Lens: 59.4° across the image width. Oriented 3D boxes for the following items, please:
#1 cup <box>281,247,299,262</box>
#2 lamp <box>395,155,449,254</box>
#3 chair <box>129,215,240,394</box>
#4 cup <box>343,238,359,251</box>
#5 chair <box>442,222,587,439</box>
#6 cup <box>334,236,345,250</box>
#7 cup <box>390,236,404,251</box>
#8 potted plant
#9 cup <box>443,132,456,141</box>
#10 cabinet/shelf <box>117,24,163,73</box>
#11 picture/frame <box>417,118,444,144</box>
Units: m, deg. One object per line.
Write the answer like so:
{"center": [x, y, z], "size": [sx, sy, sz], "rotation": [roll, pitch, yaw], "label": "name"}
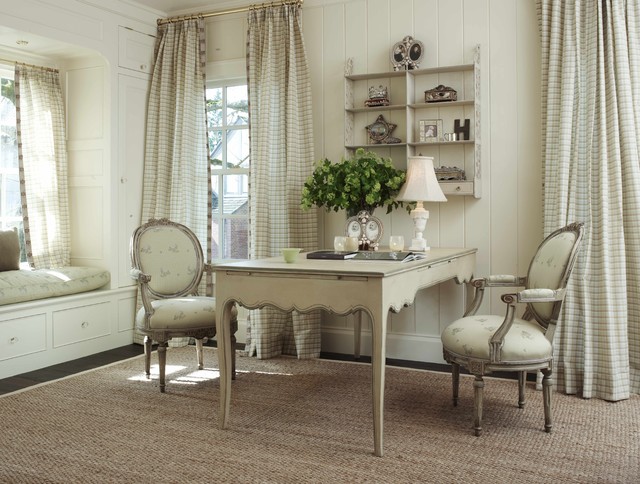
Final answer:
{"center": [-0.187, 0.081, 3.504], "size": [0.089, 0.059, 0.089], "rotation": [-1, -1, 0], "label": "cup"}
{"center": [0.758, -0.297, 4.192], "size": [0.340, 0.676, 0.520], "rotation": [1, 8, 10], "label": "lamp"}
{"center": [-1.030, 0.430, 4.217], "size": [0.753, 1.216, 0.742], "rotation": [-2, 3, -35], "label": "chair"}
{"center": [0.211, 0.016, 3.884], "size": [0.090, 0.087, 0.089], "rotation": [1, 4, 0], "label": "cup"}
{"center": [1.188, 0.506, 3.657], "size": [0.879, 1.271, 0.926], "rotation": [-1, 4, -24], "label": "chair"}
{"center": [0.146, 0.009, 3.928], "size": [0.088, 0.085, 0.089], "rotation": [1, 6, 0], "label": "cup"}
{"center": [0.534, 0.013, 3.933], "size": [0.095, 0.091, 0.096], "rotation": [0, 1, 0], "label": "cup"}
{"center": [0.292, -0.327, 4.455], "size": [0.711, 0.578, 0.648], "rotation": [-4, -5, -7], "label": "potted plant"}
{"center": [1.049, -0.833, 4.486], "size": [0.100, 0.076, 0.145], "rotation": [1, 8, 12], "label": "cup"}
{"center": [-1.707, -1.860, 5.426], "size": [0.506, 0.461, 0.279], "rotation": [8, 33, -10], "label": "cabinet/shelf"}
{"center": [0.896, -0.903, 4.572], "size": [0.218, 0.196, 0.210], "rotation": [2, 8, 17], "label": "picture/frame"}
